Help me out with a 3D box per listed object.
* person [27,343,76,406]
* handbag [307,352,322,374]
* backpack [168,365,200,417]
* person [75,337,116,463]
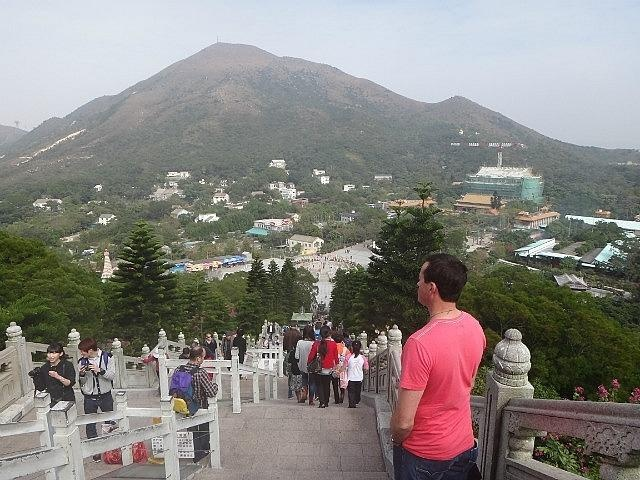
[{"bbox_3d":[-3.283,1.657,6.085,0.481,0.792,0.624,-2,2,-31],"label":"person"},{"bbox_3d":[-0.069,1.873,7.633,0.146,0.326,0.322,4,-10,-20],"label":"handbag"},{"bbox_3d":[-1.580,1.773,5.826,0.499,0.585,0.345,-5,-13,12],"label":"backpack"},{"bbox_3d":[-2.802,1.934,6.267,0.402,1.418,1.152,-2,2,-26],"label":"person"}]
